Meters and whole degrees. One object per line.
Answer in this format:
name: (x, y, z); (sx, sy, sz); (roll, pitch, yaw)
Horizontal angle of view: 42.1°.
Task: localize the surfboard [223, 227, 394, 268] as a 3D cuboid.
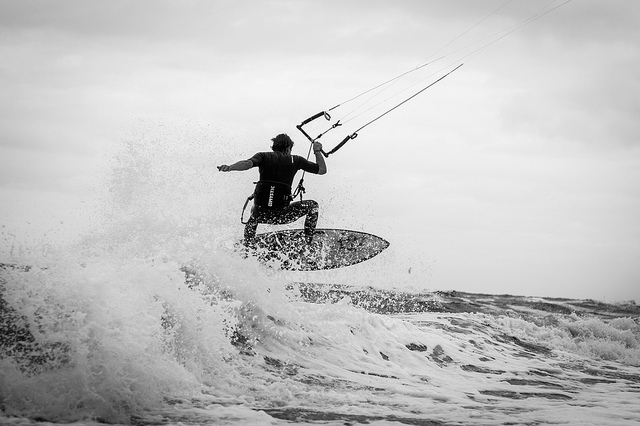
surfboard: (-0.143, 0.730, 17.461); (0.367, 0.914, 4.421); (-11, -7, 42)
